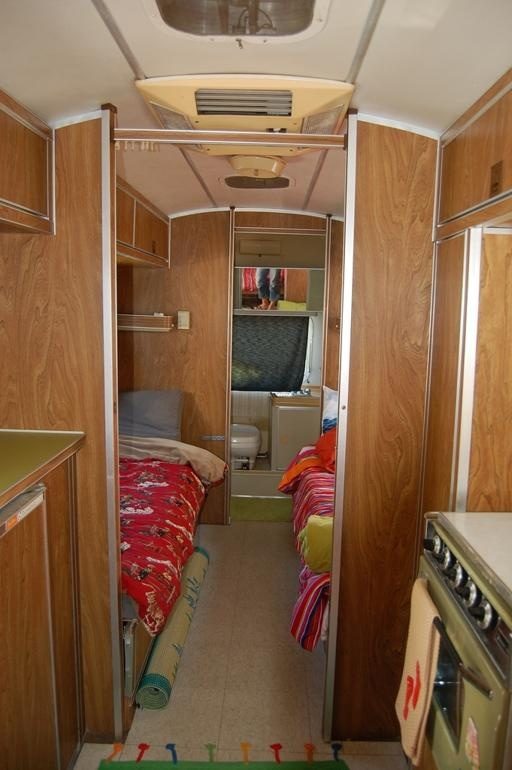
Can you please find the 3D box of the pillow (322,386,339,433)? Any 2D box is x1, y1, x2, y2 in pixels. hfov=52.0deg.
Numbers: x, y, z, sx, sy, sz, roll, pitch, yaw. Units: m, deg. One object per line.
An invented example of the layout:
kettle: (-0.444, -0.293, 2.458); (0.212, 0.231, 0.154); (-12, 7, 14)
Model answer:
pillow: (0.538, 0.179, 3.916); (0.091, 0.351, 0.134); (2, 5, 8)

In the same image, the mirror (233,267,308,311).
mirror: (0.133, -0.801, 4.415); (0.600, 0.330, 0.139); (1, 5, -6)

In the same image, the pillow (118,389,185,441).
pillow: (-0.681, 0.180, 3.509); (0.317, 0.368, 0.104); (-2, -11, -1)

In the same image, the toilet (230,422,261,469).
toilet: (-0.089, 0.525, 4.363); (0.233, 0.364, 0.407); (1, 5, 0)
